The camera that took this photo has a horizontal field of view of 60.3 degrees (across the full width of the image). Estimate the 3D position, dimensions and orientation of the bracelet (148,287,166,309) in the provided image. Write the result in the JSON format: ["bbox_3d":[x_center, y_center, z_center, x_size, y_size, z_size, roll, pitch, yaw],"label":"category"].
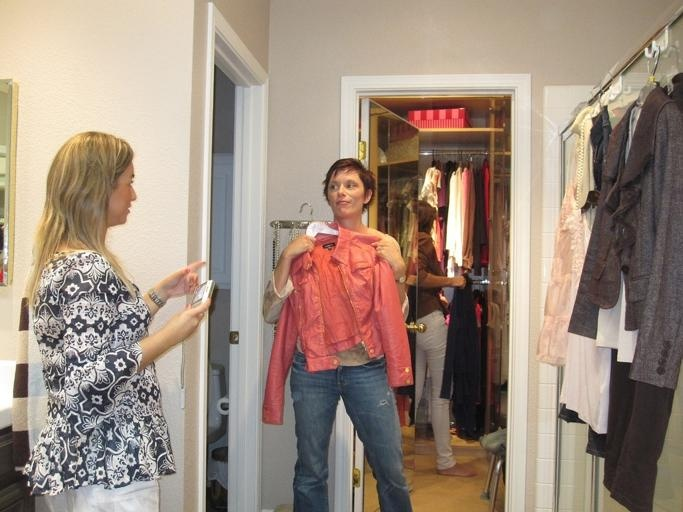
[{"bbox_3d":[-0.682,0.151,2.166,0.061,0.066,0.063,-7,-10,41],"label":"bracelet"}]

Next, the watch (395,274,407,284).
[{"bbox_3d":[0.284,0.117,2.803,0.047,0.036,0.054,-4,-21,-25],"label":"watch"}]

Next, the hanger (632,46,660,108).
[{"bbox_3d":[1.153,-0.652,2.214,0.071,0.260,0.090,15,-6,10],"label":"hanger"}]
